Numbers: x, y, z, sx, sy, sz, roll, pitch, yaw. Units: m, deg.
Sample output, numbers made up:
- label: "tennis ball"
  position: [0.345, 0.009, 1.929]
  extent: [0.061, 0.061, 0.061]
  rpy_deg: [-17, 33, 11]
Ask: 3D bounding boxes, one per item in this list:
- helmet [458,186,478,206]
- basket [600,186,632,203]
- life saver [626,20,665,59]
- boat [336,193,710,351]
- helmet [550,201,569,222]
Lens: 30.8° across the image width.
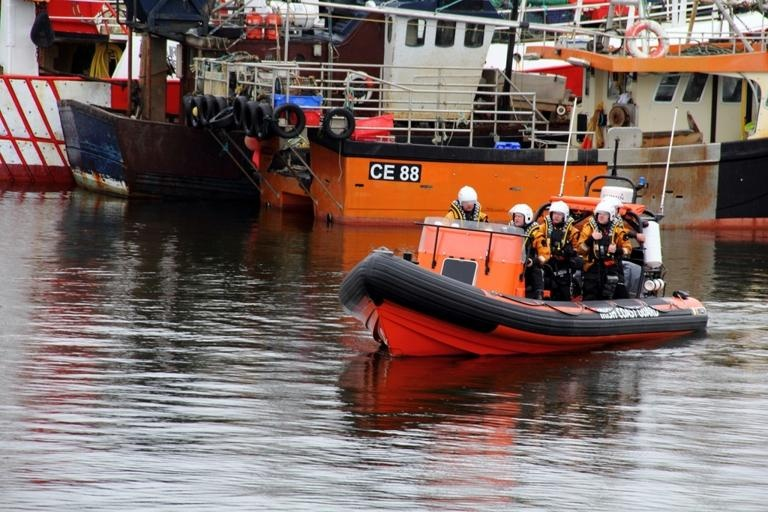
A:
- label: "helmet"
  position: [1.326, -0.876, 20.743]
  extent: [0.334, 0.302, 0.383]
  rpy_deg: [-7, 19, -14]
- label: "basket"
  position: [3.569, -0.931, 21.165]
  extent: [0.445, 0.242, 0.301]
  rpy_deg: [3, 0, -3]
- label: "life saver"
  position: [5.519, -4.543, 29.105]
  extent: [1.033, 0.743, 0.594]
  rpy_deg: [-6, 15, -34]
- label: "boat"
  position: [2.420, 0.254, 20.597]
  extent: [6.438, 2.051, 2.324]
  rpy_deg: [-4, 13, -27]
- label: "helmet"
  position: [2.630, -0.653, 20.378]
  extent: [0.287, 0.255, 0.339]
  rpy_deg: [0, -5, 28]
